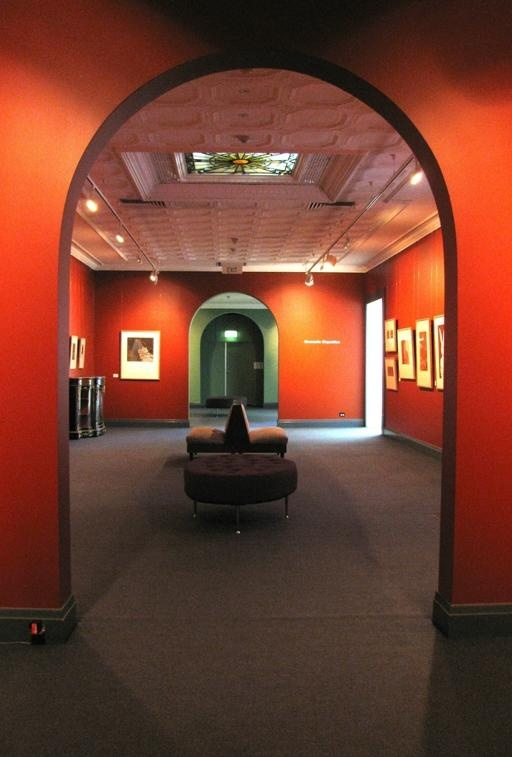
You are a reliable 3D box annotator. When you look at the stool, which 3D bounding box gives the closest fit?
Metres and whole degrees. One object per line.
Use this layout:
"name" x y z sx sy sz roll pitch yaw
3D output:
"stool" -0.142 1.009 4.738 0.957 0.545 0.911 0 1 -5
